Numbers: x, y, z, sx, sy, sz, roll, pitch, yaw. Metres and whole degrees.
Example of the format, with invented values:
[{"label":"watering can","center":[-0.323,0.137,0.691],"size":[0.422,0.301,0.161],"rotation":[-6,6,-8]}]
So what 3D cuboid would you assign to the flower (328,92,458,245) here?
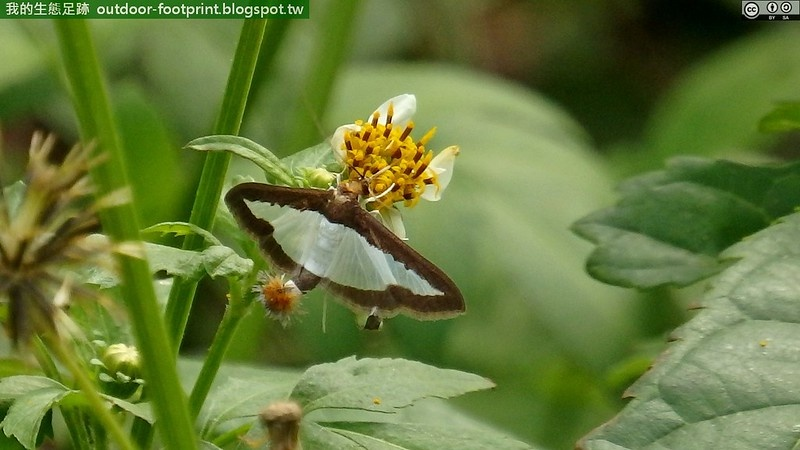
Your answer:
[{"label":"flower","center":[-0.031,-0.114,1.713],"size":[0.338,0.147,0.289],"rotation":[6,-17,-10]}]
